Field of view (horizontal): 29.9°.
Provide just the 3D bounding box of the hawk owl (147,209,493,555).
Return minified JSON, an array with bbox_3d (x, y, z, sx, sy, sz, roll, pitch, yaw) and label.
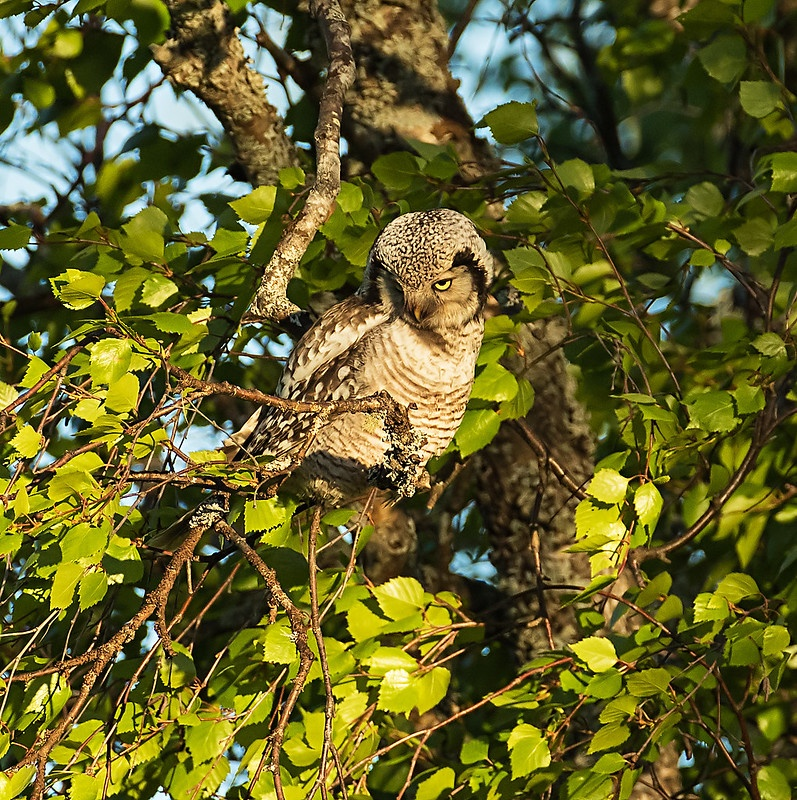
[{"bbox_3d":[-0.478,-0.099,5.016,1.549,1.251,0.811,-3,-1,5],"label":"hawk owl"}]
